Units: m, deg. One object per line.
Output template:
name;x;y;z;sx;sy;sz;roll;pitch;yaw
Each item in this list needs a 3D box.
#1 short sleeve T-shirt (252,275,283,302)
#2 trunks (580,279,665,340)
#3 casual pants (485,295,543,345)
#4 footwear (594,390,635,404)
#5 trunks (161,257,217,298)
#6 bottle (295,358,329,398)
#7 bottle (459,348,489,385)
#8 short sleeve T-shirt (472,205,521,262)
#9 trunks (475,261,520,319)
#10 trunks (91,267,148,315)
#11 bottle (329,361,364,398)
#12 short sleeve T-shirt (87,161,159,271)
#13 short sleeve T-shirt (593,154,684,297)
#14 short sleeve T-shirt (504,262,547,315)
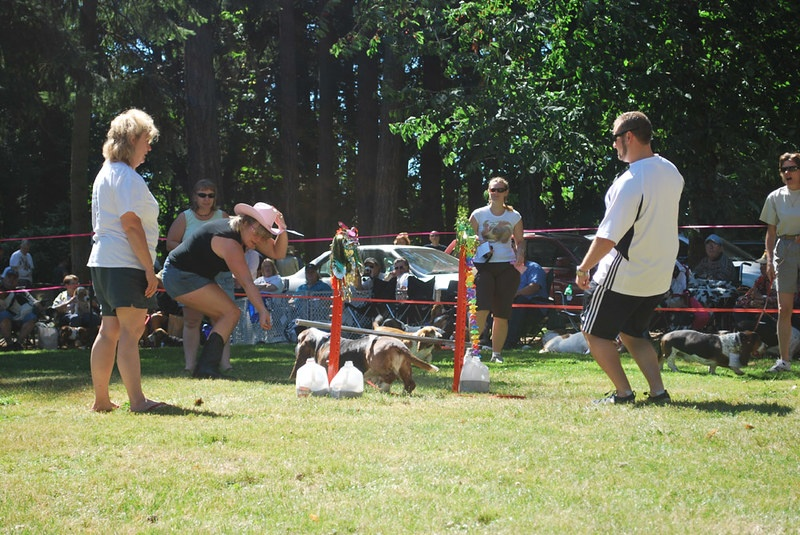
short sleeve T-shirt;-2.114;0.354;17.182;0.465;0.297;0.505;-6;21;2
trunks;2.428;0.486;11.829;1.022;0.716;0.580;8;4;-14
casual pants;2.063;0.896;17.659;0.349;0.753;1.422;5;1;29
footwear;2.401;1.434;11.769;0.455;0.174;0.166;1;-13;10
trunks;-2.472;0.113;12.488;0.458;0.354;0.468;6;-6;13
bottle;-0.985;1.288;12.178;0.382;0.398;0.418;-9;-9;43
bottle;0.826;1.215;12.597;0.422;0.456;0.280;4;-6;-6
short sleeve T-shirt;1.330;-0.439;14.411;0.761;0.703;0.408;1;-8;-5
trunks;1.333;0.279;14.472;0.684;0.885;0.500;4;-11;-5
trunks;-2.848;0.268;11.351;0.514;0.451;0.364;-18;-2;21
bottle;-0.594;1.286;12.099;0.398;0.362;0.384;2;-5;-15
short sleeve T-shirt;-2.936;-0.551;11.265;0.679;1.110;0.381;0;12;-4
short sleeve T-shirt;2.535;-0.144;11.823;0.680;1.212;1.266;-4;-21;25
short sleeve T-shirt;1.959;0.350;16.442;0.347;0.605;0.602;18;-36;-8
